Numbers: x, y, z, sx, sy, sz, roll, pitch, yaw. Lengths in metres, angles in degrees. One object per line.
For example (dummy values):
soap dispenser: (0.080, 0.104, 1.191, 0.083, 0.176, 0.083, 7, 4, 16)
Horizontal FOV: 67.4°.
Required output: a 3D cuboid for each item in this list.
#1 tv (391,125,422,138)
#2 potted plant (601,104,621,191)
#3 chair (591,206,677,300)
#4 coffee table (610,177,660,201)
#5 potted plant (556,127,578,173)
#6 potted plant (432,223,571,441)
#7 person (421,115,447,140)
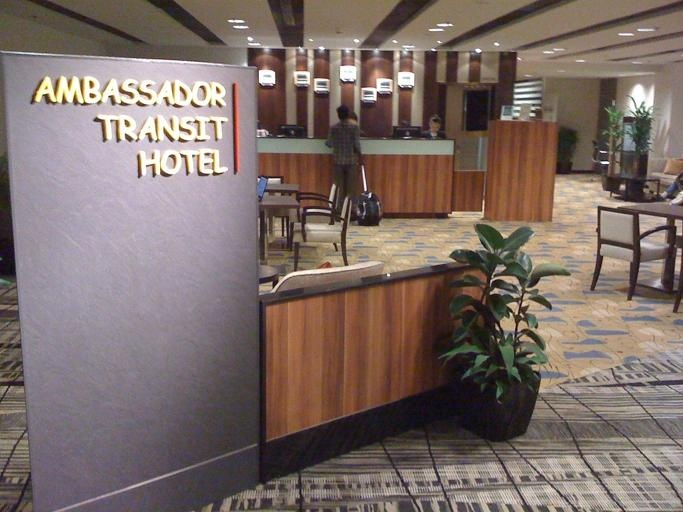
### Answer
tv: (1.307, -2.520, 10.339, 0.665, 0.303, 0.440, 2, 7, -1)
potted plant: (8.466, -3.384, 16.137, 0.798, 2.642, 0.865, 5, 14, 29)
chair: (3.261, -0.064, 5.815, 0.705, 1.014, 0.593, -10, 15, -33)
coffee table: (7.628, -1.771, 13.379, 0.930, 0.390, 0.873, -9, 19, -25)
potted plant: (8.320, -3.957, 18.971, 0.964, 1.706, 0.463, -13, 18, -43)
potted plant: (0.987, 0.511, 3.169, 0.878, 1.294, 0.681, -5, 17, -16)
person: (1.858, -2.590, 10.241, 0.427, 0.480, 0.737, 2, 12, 12)
